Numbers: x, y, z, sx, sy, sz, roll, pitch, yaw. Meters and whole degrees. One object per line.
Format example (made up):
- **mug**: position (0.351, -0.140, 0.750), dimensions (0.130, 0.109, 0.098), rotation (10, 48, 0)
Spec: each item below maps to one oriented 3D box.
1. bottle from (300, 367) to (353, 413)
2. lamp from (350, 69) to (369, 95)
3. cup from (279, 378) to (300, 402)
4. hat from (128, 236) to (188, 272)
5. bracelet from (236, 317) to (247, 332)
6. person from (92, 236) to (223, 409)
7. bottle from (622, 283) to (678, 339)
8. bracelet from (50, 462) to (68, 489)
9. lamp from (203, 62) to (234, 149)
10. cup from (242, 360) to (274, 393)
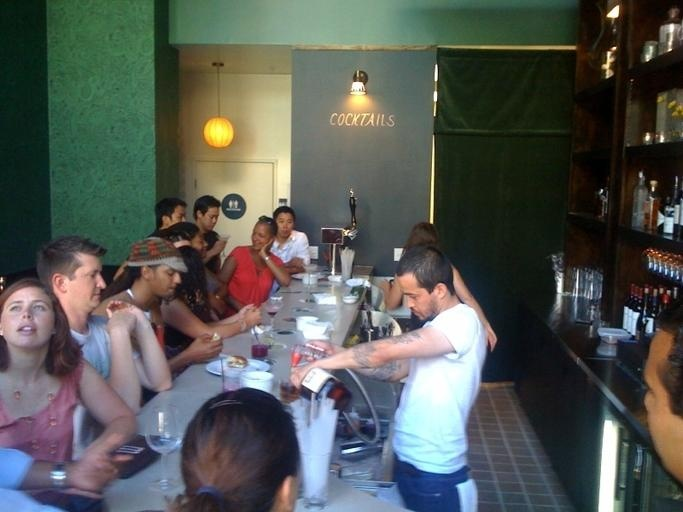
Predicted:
- **bottle**: position (-0.067, 0.517, 2.005), dimensions (0.199, 0.140, 0.199), rotation (0, 11, 0)
- **lamp**: position (0.200, -1.894, 5.877), dimensions (0.179, 0.268, 0.303), rotation (0, 11, 2)
- **cup**: position (-0.207, 0.540, 2.177), dimensions (0.094, 0.099, 0.075), rotation (3, 17, 7)
- **hat**: position (-1.051, -0.004, 3.082), dimensions (0.258, 0.151, 0.189), rotation (5, -3, -12)
- **bracelet**: position (-0.653, 0.451, 3.516), dimensions (0.065, 0.071, 0.026), rotation (18, 17, 38)
- **person**: position (-1.000, 0.516, 3.314), dimensions (0.892, 1.258, 0.484), rotation (-3, 19, -18)
- **bottle**: position (2.141, 0.378, 3.823), dimensions (0.267, 0.357, 0.315), rotation (-7, 13, -34)
- **bracelet**: position (-0.993, 0.775, 1.914), dimensions (0.046, 0.076, 0.079), rotation (11, 32, -6)
- **lamp**: position (-1.703, -2.040, 7.508), dimensions (0.413, 1.097, 0.907), rotation (-2, 11, -12)
- **cup**: position (-0.396, 0.548, 2.481), dimensions (0.178, 0.153, 0.198), rotation (2, 1, 1)
